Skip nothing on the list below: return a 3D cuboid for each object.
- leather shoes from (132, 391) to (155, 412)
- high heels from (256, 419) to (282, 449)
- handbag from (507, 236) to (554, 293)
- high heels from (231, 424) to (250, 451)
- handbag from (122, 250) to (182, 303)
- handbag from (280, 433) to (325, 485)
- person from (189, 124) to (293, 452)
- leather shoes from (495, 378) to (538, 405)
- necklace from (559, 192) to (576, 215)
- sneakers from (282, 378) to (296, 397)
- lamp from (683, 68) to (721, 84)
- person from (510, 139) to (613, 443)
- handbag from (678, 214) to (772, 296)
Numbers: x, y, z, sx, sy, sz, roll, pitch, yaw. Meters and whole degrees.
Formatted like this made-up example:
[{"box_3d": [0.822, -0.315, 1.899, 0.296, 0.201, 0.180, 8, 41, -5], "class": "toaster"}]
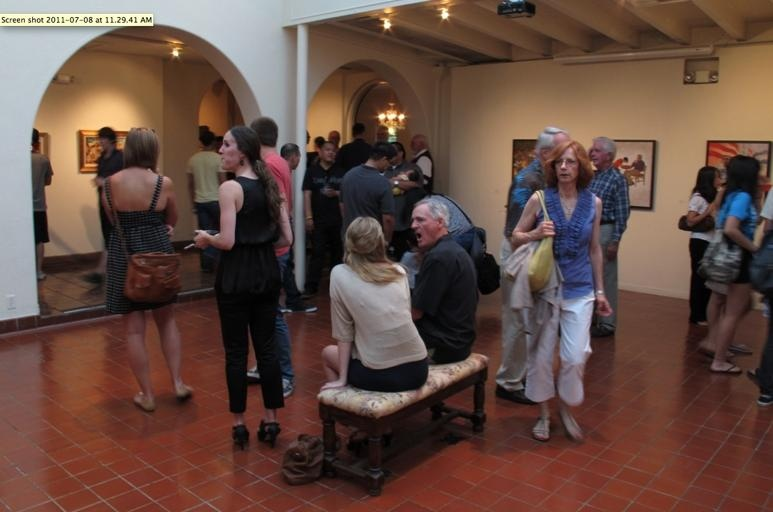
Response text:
[{"box_3d": [-2.253, 1.340, 5.290, 0.121, 0.094, 0.241, -6, 10, -42], "class": "leather shoes"}, {"box_3d": [-0.991, 1.491, 4.805, 0.116, 0.132, 0.314, -1, 9, -23], "class": "high heels"}, {"box_3d": [1.220, 0.064, 4.799, 0.386, 0.446, 0.153, 2, 15, 12], "class": "handbag"}, {"box_3d": [-1.221, 1.506, 4.746, 0.088, 0.116, 0.252, -1, 11, -15], "class": "high heels"}, {"box_3d": [-2.106, 0.175, 5.038, 0.453, 0.436, 0.223, -3, 11, -34], "class": "handbag"}, {"box_3d": [-0.653, 1.572, 4.408, 0.337, 0.296, 0.211, -4, 15, -13], "class": "handbag"}, {"box_3d": [-1.158, 0.272, 4.716, 0.652, 2.593, 0.601, -3, 15, -6], "class": "person"}, {"box_3d": [1.281, 1.338, 5.647, 0.391, 0.162, 0.156, 3, 7, 31], "class": "leather shoes"}, {"box_3d": [1.554, -0.451, 4.858, 0.136, 0.189, 0.061, 0, -10, -2], "class": "necklace"}, {"box_3d": [-0.959, 1.275, 5.541, 0.092, 0.113, 0.248, 0, -2, 2], "class": "sneakers"}, {"box_3d": [4.944, -2.795, 8.932, 0.484, 0.218, 0.077, 7, 17, 28], "class": "lamp"}, {"box_3d": [1.496, 0.310, 4.924, 0.740, 2.521, 0.748, 10, 19, 38], "class": "person"}, {"box_3d": [3.633, 0.055, 5.879, 0.456, 0.903, 0.930, -7, 16, -21], "class": "handbag"}]
